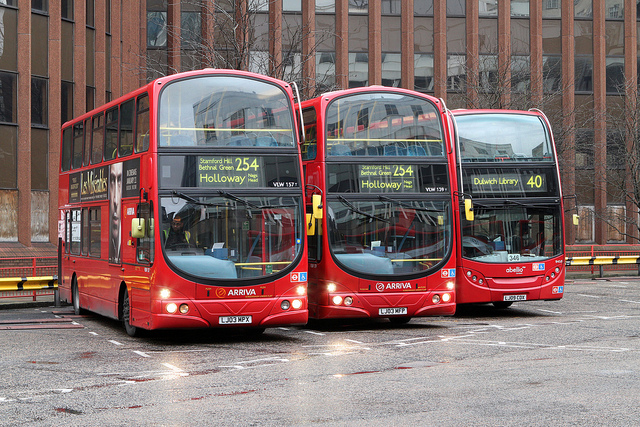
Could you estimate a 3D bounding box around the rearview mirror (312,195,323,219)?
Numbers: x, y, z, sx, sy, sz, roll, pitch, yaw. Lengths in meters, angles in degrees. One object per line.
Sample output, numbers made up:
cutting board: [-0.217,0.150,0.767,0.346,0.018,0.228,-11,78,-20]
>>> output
rearview mirror: [-0.059,-0.176,18.397,0.238,0.518,0.157,-2,1,-13]

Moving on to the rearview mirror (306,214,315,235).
rearview mirror: [-0.220,0.247,18.137,0.189,0.435,0.369,-2,0,-1]

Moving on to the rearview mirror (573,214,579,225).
rearview mirror: [7.746,0.186,23.175,0.114,0.239,0.577,-2,0,16]

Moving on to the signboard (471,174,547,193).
signboard: [5.396,-0.883,21.820,2.160,0.436,0.170,-2,0,-7]

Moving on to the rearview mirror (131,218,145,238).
rearview mirror: [-4.015,0.311,16.823,0.331,0.522,0.355,2,-4,-27]

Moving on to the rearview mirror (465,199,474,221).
rearview mirror: [4.061,-0.115,20.847,0.195,0.485,0.363,-2,0,8]
